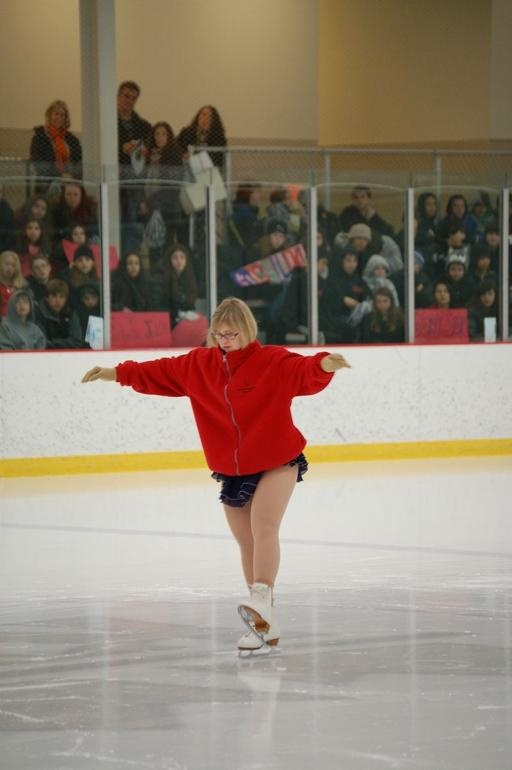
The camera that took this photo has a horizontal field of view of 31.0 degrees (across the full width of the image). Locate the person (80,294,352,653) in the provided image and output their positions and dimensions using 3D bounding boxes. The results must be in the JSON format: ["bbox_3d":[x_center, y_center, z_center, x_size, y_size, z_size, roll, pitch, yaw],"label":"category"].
[{"bbox_3d":[-0.060,0.243,2.728,0.769,0.998,0.344,2,4,40],"label":"person"}]

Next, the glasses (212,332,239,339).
[{"bbox_3d":[-0.093,-0.143,2.656,0.081,0.017,0.029,1,3,36],"label":"glasses"}]

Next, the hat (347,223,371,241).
[{"bbox_3d":[0.767,-1.138,6.913,0.162,0.114,0.110,12,-3,-1],"label":"hat"}]

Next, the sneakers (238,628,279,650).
[{"bbox_3d":[-0.002,0.716,2.576,0.136,0.045,0.062,3,10,-29],"label":"sneakers"}]
